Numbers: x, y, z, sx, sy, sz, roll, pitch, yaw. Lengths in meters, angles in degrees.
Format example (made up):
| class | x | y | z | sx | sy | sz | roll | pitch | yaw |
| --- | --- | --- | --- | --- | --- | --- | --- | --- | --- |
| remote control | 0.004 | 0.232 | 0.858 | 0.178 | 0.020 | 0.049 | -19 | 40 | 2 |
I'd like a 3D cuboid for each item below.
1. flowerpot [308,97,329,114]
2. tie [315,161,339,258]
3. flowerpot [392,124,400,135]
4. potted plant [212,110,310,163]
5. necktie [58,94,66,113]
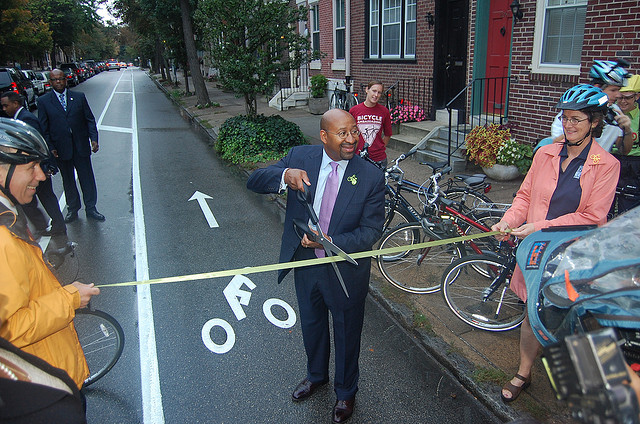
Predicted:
| class | x | y | z | sx | sy | sz | roll | pitch | yaw |
| --- | --- | --- | --- | --- | --- | --- | --- | --- | --- |
| flowerpot | -0.034 | -4.804 | 19.997 | 0.955 | 0.658 | 0.799 | -1 | 21 | 5 |
| tie | 0.091 | -0.014 | 4.029 | 0.225 | 0.827 | 0.255 | 0 | -1 | 1 |
| flowerpot | 2.305 | -2.481 | 13.276 | 0.273 | 0.284 | 0.133 | -18 | 25 | -35 |
| potted plant | -1.925 | -2.310 | 13.625 | 2.546 | 0.966 | 2.657 | -7 | 22 | -11 |
| necktie | -4.814 | -2.032 | 8.241 | 0.062 | 0.367 | 0.045 | -16 | -12 | -6 |
